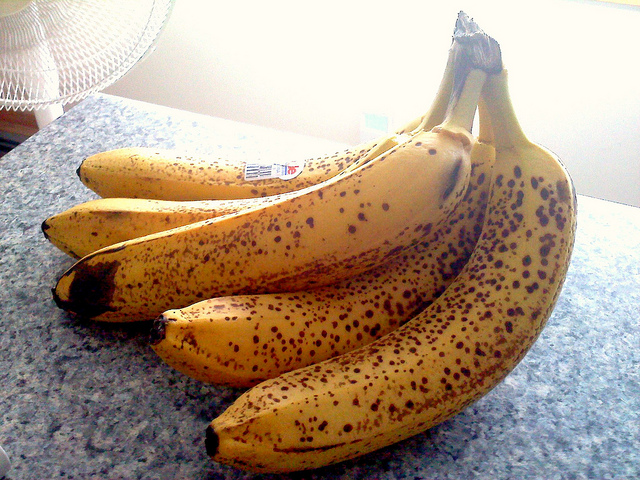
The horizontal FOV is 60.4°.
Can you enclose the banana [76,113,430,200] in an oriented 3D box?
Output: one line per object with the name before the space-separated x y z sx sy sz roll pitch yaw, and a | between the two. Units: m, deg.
banana | -0.096 -0.134 1.183 0.763 0.210 0.115 -4 30 -16
